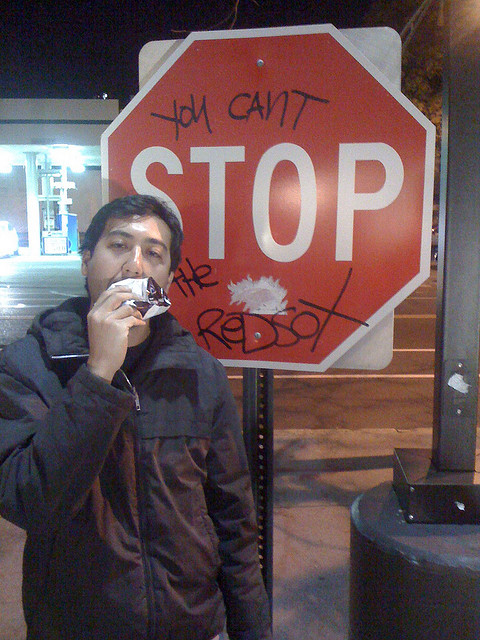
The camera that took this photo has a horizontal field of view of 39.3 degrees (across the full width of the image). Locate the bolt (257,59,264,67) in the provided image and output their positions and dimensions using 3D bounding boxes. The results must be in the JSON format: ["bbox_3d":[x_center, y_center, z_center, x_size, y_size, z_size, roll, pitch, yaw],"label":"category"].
[{"bbox_3d":[0.063,-0.796,2.083,0.014,0.022,0.011,-16,2,18],"label":"bolt"}]

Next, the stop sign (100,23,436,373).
[{"bbox_3d":[0.080,-0.363,2.081,0.745,1.011,0.060,6,11,7],"label":"stop sign"}]

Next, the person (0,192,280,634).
[{"bbox_3d":[-0.327,0.337,1.994,0.796,1.455,0.664,-3,6,-34],"label":"person"}]

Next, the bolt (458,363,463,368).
[{"bbox_3d":[0.724,0.149,2.203,0.012,0.016,0.003,3,-6,-13],"label":"bolt"}]

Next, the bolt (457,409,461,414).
[{"bbox_3d":[0.725,0.302,2.223,0.012,0.016,0.004,7,4,11],"label":"bolt"}]

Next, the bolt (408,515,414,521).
[{"bbox_3d":[0.526,0.610,2.072,0.016,0.017,0.006,3,5,28],"label":"bolt"}]
